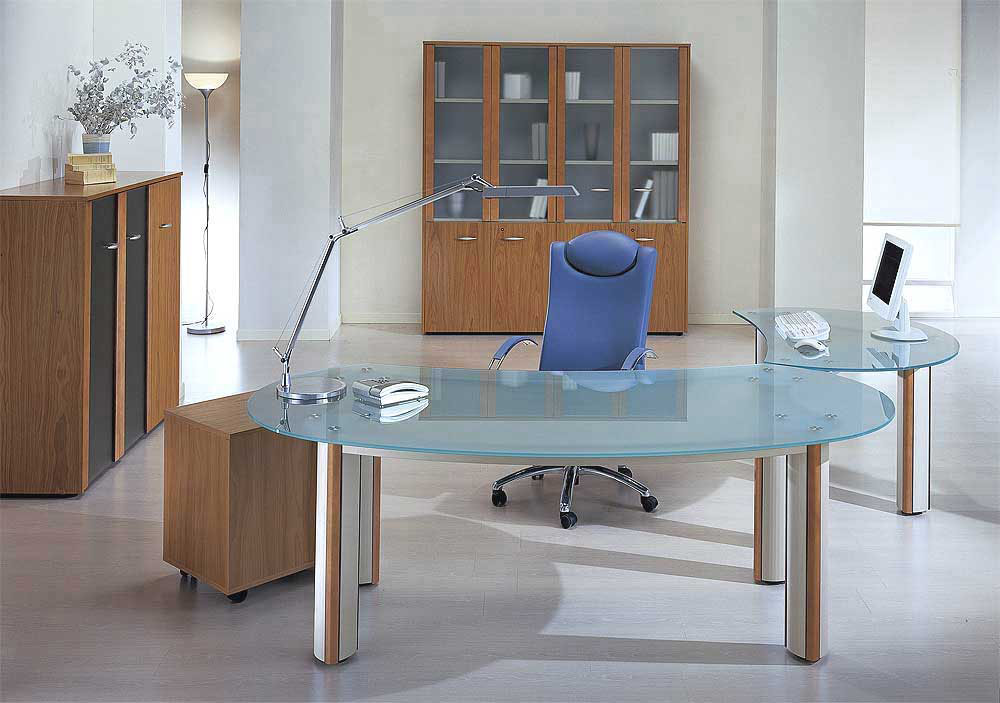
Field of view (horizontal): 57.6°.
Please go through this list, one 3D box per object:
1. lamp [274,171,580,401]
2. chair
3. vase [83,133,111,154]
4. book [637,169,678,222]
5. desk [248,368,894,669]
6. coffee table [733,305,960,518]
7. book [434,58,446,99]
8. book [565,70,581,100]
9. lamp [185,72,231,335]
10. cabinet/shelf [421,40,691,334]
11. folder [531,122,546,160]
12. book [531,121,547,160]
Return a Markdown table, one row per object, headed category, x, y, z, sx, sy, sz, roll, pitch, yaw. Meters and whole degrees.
| category | x | y | z | sx | sy | sz | roll | pitch | yaw |
| --- | --- | --- | --- | --- | --- | --- | --- | --- | --- |
| lamp | -0.286 | -0.248 | 3.594 | 1.281 | 0.814 | 0.245 | -5 | 14 | -11 |
| chair | 0.442 | 0.097 | 4.599 | 0.904 | 1.351 | 0.872 | 6 | 10 | 24 |
| vase | -2.416 | -1.234 | 5.445 | 0.133 | 0.096 | 0.136 | -1 | 1 | -18 |
| book | 1.470 | -1.400 | 8.610 | 0.434 | 0.517 | 0.561 | 1 | 1 | 4 |
| desk | 0.288 | 0.637 | 3.495 | 2.289 | 1.047 | 1.087 | -1 | 9 | -12 |
| coffee table | 1.718 | 0.135 | 4.357 | 1.044 | 0.666 | 1.424 | -3 | 9 | -11 |
| book | -0.544 | -2.449 | 8.231 | 0.097 | 0.348 | 0.049 | 0 | 9 | -4 |
| book | 0.658 | -2.405 | 8.262 | 0.139 | 0.247 | 0.031 | -1 | 9 | -8 |
| lamp | -2.669 | -1.349 | 8.287 | 0.457 | 2.357 | 0.872 | -2 | 9 | -16 |
| cabinet/shelf | 0.456 | -1.521 | 7.719 | 3.002 | 3.027 | 0.909 | 0 | 3 | -2 |
| folder | 0.350 | -1.916 | 8.308 | 0.137 | 0.341 | 0.026 | 1 | 9 | 2 |
| book | 0.350 | -1.916 | 8.308 | 0.137 | 0.341 | 0.026 | 1 | 9 | 2 |
